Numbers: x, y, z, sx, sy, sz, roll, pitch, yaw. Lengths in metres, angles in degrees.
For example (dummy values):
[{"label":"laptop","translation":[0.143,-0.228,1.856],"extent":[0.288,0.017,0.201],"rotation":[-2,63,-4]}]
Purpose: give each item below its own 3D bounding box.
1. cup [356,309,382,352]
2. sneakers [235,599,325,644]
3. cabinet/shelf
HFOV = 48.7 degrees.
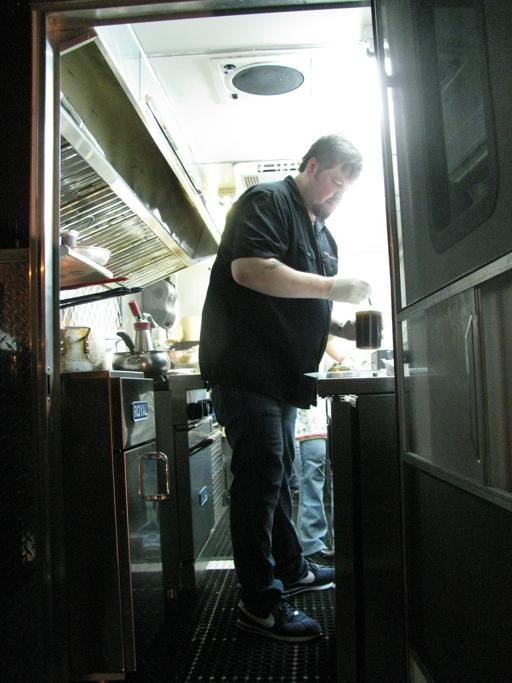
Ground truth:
[{"label":"cup","translation":[0.321,-0.035,1.663],"extent":[0.089,0.115,0.093],"rotation":[0,-6,0]},{"label":"sneakers","translation":[0.069,0.794,1.662],"extent":[0.243,0.121,0.094],"rotation":[-2,-12,27]},{"label":"cabinet/shelf","translation":[-0.316,0.490,1.817],"extent":[0.182,0.807,0.821],"rotation":[-4,-3,12]}]
